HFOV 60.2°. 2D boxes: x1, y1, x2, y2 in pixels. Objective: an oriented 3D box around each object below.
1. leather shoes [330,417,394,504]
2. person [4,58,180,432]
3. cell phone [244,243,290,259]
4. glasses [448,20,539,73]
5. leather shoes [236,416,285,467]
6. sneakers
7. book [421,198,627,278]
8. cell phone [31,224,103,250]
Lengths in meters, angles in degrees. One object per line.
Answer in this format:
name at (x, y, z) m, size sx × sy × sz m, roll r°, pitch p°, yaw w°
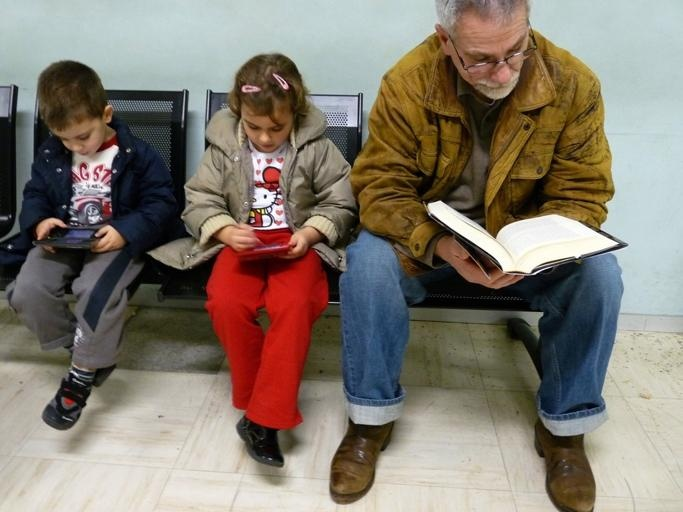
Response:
leather shoes at (0.066, 0.652, 1.993) m, size 0.110 × 0.171 × 0.310 m, roll 13°, pitch 26°, yaw 17°
person at (-0.995, -0.065, 2.158) m, size 0.518 × 1.206 × 0.679 m, roll 9°, pitch 22°, yaw 23°
cell phone at (-0.254, -0.017, 1.974) m, size 0.157 × 0.053 × 0.105 m, roll -2°, pitch 21°, yaw -5°
glasses at (0.451, -0.615, 1.804) m, size 0.255 × 0.106 × 0.106 m, roll 4°, pitch 21°, yaw 9°
leather shoes at (-0.277, 0.612, 1.972) m, size 0.140 × 0.159 × 0.209 m, roll -4°, pitch 21°, yaw -11°
sneakers at (-0.901, 0.462, 2.131) m, size 0.113 × 0.153 × 0.344 m, roll 35°, pitch 25°, yaw -13°
book at (0.527, -0.033, 1.743) m, size 0.557 × 0.175 × 0.323 m, roll 2°, pitch 21°, yaw 5°
cell phone at (-0.968, -0.068, 2.122) m, size 0.203 × 0.043 × 0.178 m, roll 4°, pitch 21°, yaw 9°
